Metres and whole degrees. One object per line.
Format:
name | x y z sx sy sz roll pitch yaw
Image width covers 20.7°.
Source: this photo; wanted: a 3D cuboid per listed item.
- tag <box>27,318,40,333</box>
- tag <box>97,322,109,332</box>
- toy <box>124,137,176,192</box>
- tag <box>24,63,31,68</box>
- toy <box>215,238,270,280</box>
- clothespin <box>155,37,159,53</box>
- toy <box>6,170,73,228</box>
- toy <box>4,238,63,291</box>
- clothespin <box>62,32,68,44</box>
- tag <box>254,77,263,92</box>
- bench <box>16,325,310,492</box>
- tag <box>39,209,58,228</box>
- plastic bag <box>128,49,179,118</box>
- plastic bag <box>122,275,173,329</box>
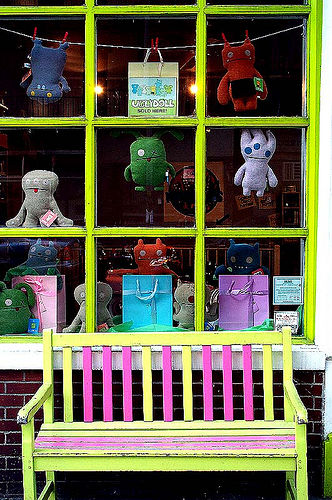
tag | -0.670 0.384 4.569 0.063 0.097 0.009 -1 -9 -10
tag | -0.317 0.382 4.503 0.012 0.032 0.064 3 5 45
toy | -0.105 -0.451 4.630 0.325 0.393 0.192 -1 14 -6
tag | -0.693 -0.921 4.543 0.026 0.021 0.008 7 35 18
toy | 0.389 0.112 4.603 0.285 0.331 0.125 4 -2 2
clothespin | -0.041 -1.033 4.570 0.014 0.071 0.018 5 6 -3
toy | -0.623 -0.249 4.566 0.250 0.267 0.101 2 1 4
toy | -0.679 0.069 4.594 0.173 0.175 0.103 19 19 -18
clothespin | -0.502 -1.060 4.519 0.033 0.048 0.006 0 3 13
tag | 0.457 -0.820 4.498 0.064 0.073 0.007 11 -18 -42
bench | 0.021 0.780 4.157 1.323 0.827 0.592 0 4 1
tag | -0.588 -0.157 4.549 0.069 0.073 0.019 44 -2 18
plastic bag | -0.064 -0.837 4.556 0.257 0.471 0.058 1 -32 0
plastic bag | -0.085 0.254 4.471 0.233 0.267 0.089 0 -6 0
